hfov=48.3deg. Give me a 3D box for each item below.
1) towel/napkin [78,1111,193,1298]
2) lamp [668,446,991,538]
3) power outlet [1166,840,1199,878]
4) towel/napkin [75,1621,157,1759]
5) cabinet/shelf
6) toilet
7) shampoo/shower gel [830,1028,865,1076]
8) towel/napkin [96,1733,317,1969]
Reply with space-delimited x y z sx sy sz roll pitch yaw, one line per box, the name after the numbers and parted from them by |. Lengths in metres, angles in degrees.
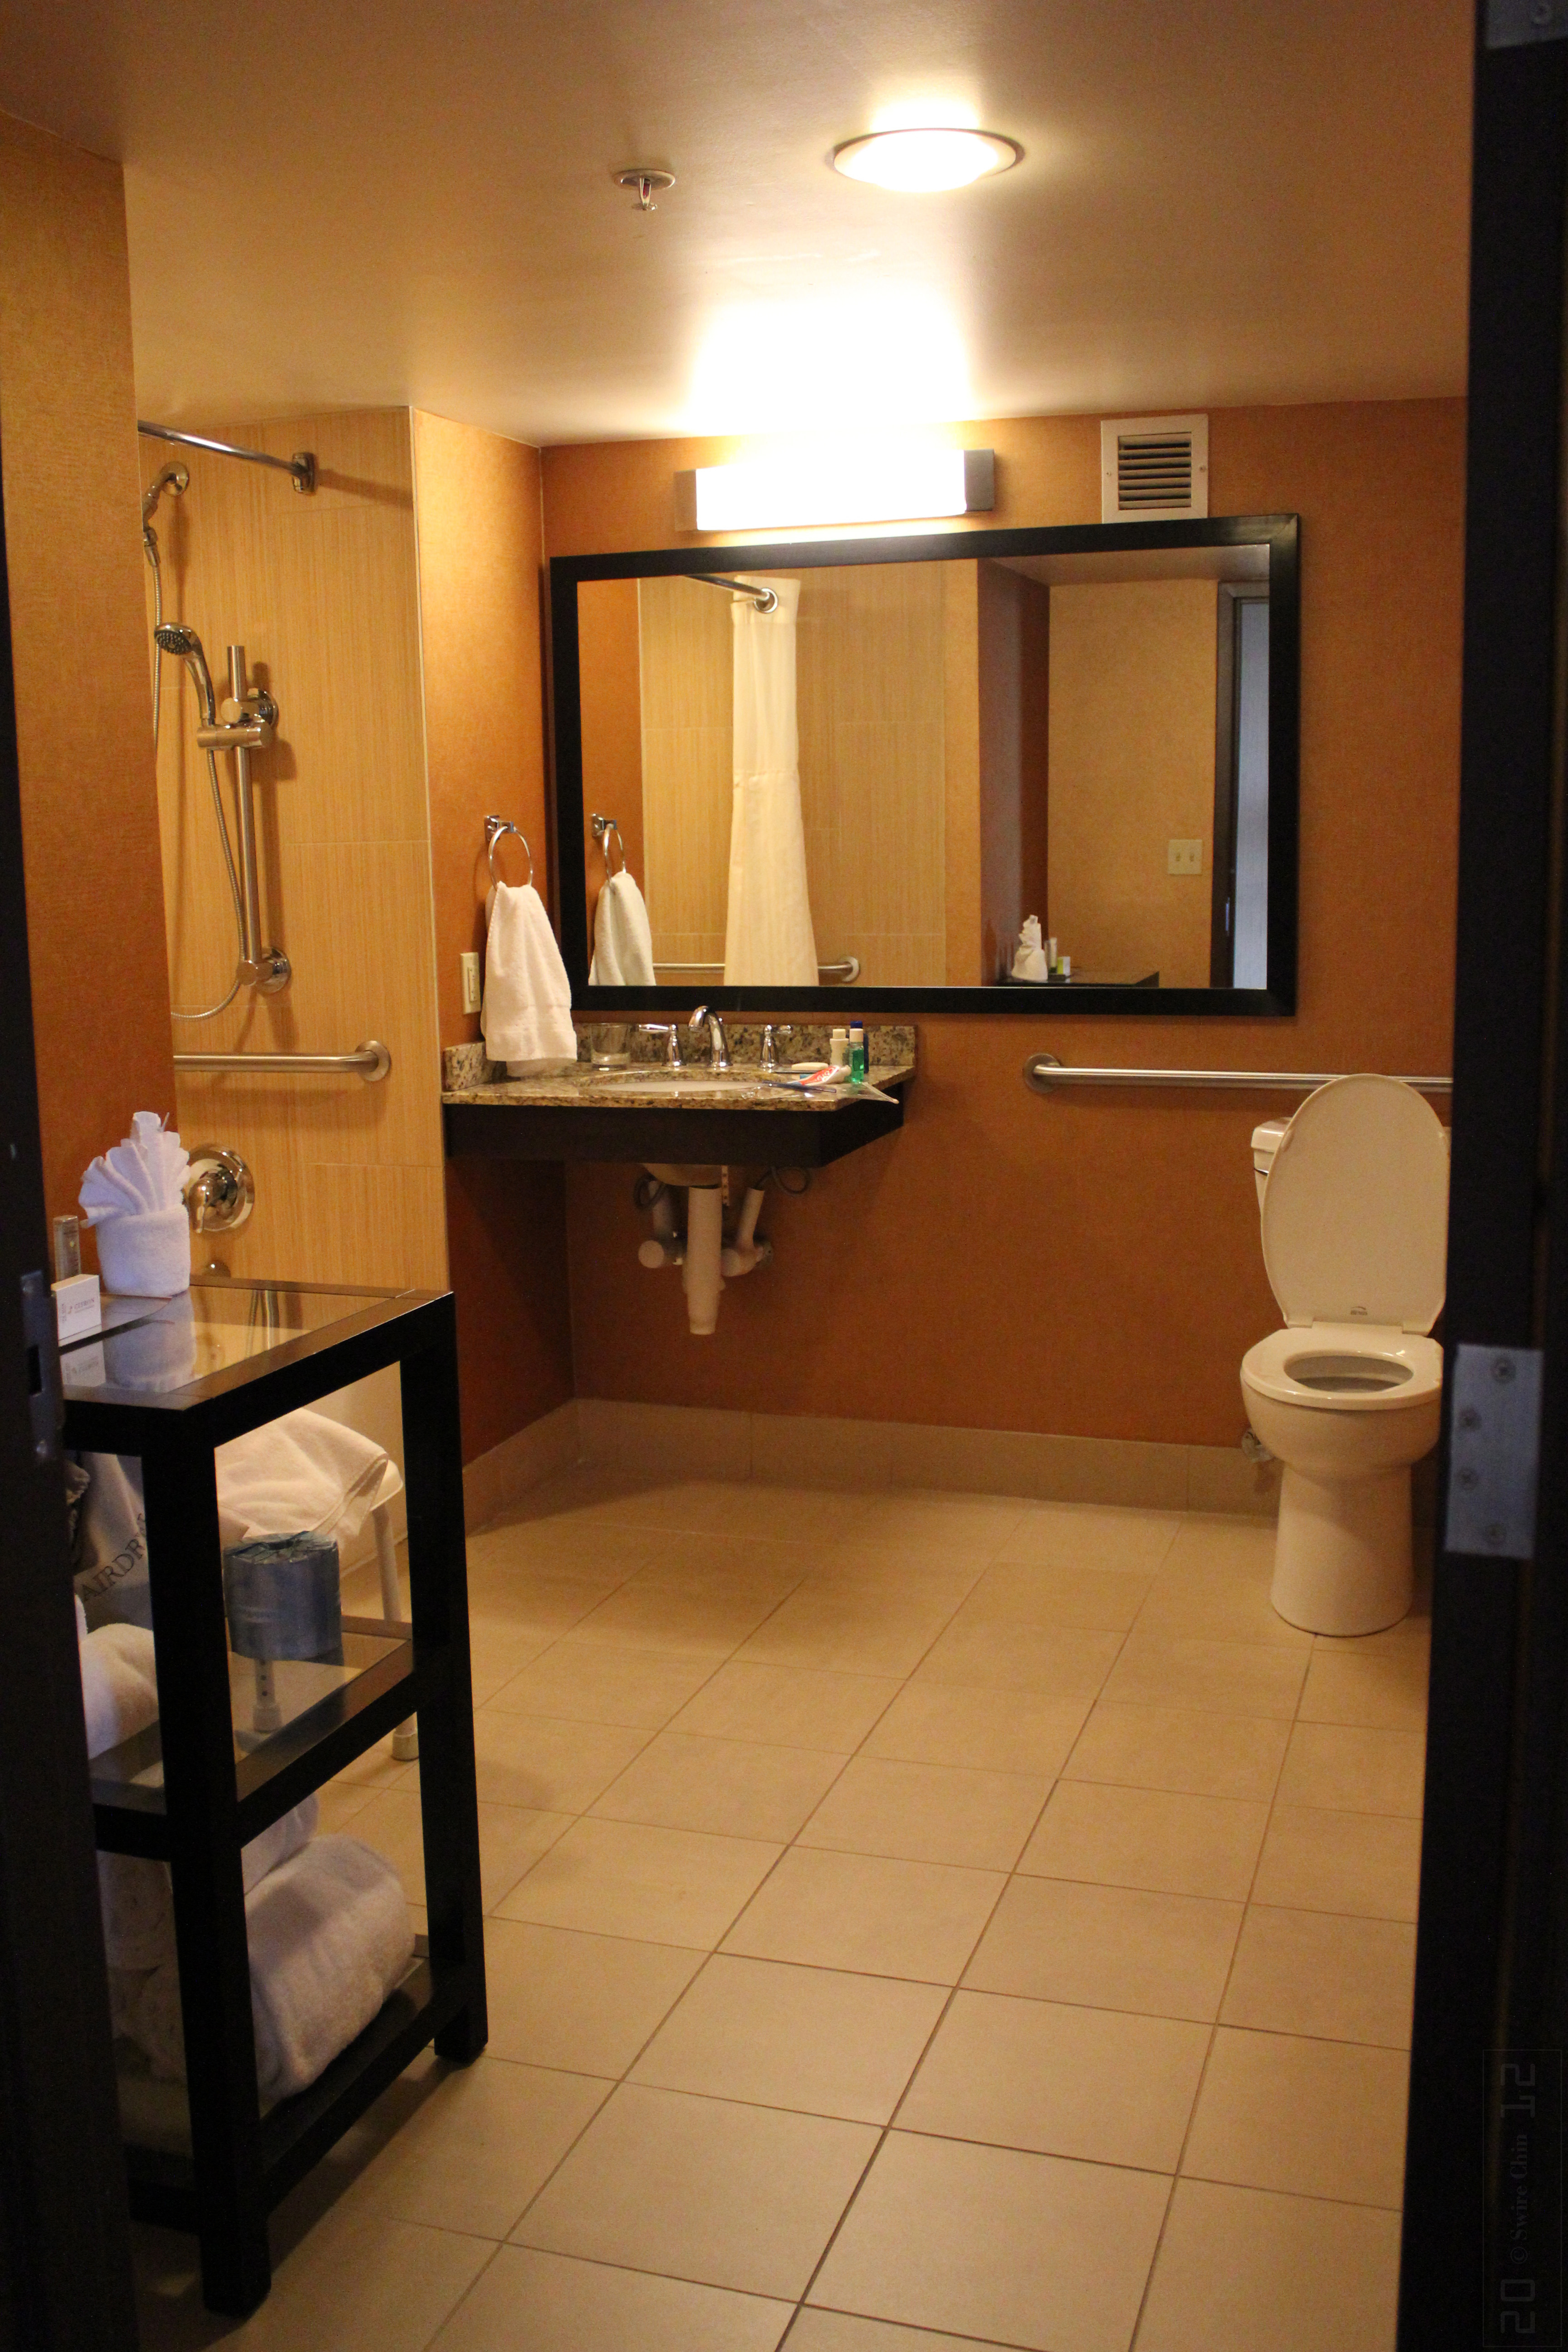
-0.654 0.025 1.767 0.067 0.195 0.112 9 18 27 | towel/napkin
0.118 -1.494 3.785 0.688 0.160 0.050 2 6 19 | lamp
0.851 -0.672 3.693 0.059 0.090 0.010 1 4 14 | power outlet
-0.622 0.467 1.633 0.096 0.036 0.122 17 33 -38 | towel/napkin
-0.519 0.587 1.788 0.242 0.919 0.525 1 6 17 | cabinet/shelf
1.077 0.327 3.342 0.344 1.024 0.520 2 6 21 | toilet
0.146 -0.272 3.838 0.078 0.107 0.259 0 6 2 | shampoo/shower gel
-0.559 0.635 1.706 0.181 0.083 0.210 2 9 20 | towel/napkin
